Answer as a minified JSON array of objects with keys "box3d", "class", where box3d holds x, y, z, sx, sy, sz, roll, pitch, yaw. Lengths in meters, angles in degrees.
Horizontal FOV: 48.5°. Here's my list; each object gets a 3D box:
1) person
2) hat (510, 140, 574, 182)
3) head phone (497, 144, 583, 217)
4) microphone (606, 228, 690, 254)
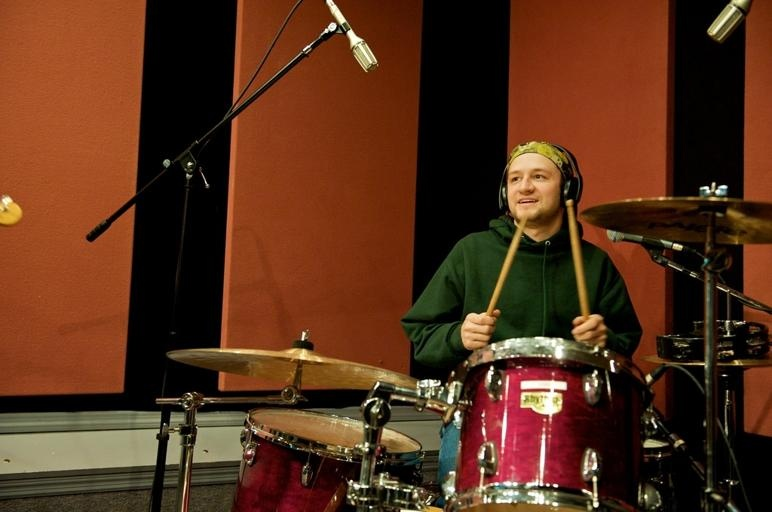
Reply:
[{"box3d":[0.666,0.325,4.027,1.091,1.635,0.877,3,2,-6],"class":"person"},{"box3d":[0.748,-0.475,4.045,0.210,0.107,0.178,18,-23,8],"class":"hat"},{"box3d":[0.741,-0.347,4.031,0.473,0.430,0.192,0,-2,20],"class":"head phone"},{"box3d":[1.310,-0.064,4.306,0.422,0.149,0.061,11,15,24],"class":"microphone"}]
